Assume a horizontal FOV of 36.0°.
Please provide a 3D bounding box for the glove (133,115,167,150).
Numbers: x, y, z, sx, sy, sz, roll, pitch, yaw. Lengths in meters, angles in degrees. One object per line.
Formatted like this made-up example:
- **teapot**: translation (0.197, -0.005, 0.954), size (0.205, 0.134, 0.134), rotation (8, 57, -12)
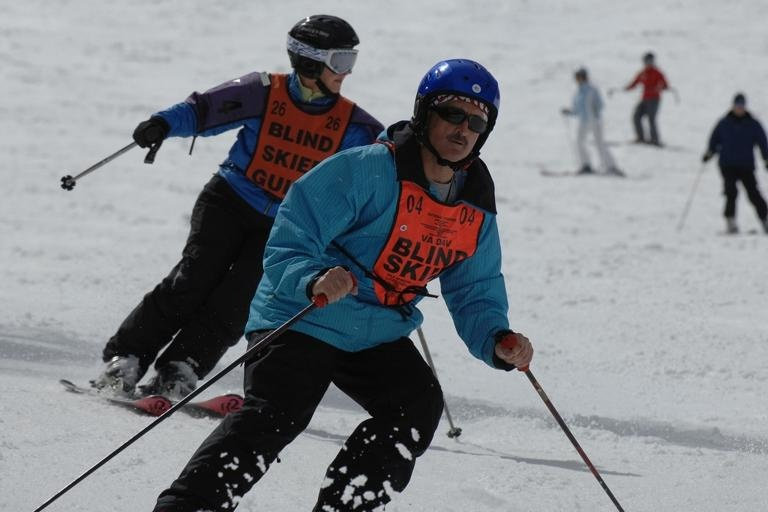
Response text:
- **glove**: translation (-2.351, -1.267, 12.001), size (0.373, 0.277, 0.157), rotation (-38, -1, 2)

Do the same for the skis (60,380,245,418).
- **skis**: translation (-2.349, 1.400, 11.601), size (2.235, 0.222, 0.291), rotation (7, -3, 14)

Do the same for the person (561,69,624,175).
- **person**: translation (3.533, -2.257, 19.880), size (0.927, 1.853, 1.514), rotation (10, 17, 18)
